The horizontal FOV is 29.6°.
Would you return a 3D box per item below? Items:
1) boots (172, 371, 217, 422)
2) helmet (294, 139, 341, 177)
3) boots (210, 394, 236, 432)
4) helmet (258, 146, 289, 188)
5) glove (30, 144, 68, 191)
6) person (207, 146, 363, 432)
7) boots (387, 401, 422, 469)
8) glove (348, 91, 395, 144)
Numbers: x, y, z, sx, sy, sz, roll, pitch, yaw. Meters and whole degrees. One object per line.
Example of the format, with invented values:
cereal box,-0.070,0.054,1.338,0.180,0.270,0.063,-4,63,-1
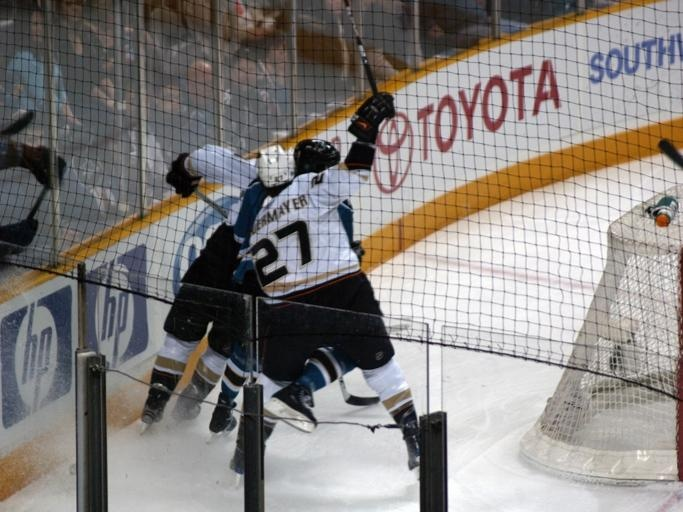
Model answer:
boots,-0.828,0.798,7.155,0.185,0.296,0.110,37,-7,-11
helmet,-0.143,-0.591,7.724,0.243,0.236,0.201,-3,33,3
boots,-0.615,0.856,7.091,0.092,0.177,0.241,10,21,13
helmet,-0.395,-0.531,7.726,0.213,0.201,0.214,-16,24,-21
glove,-1.795,-0.542,7.907,0.085,0.244,0.170,-19,-2,44
person,-0.254,0.134,7.287,0.882,1.582,0.416,-5,-10,43
boots,0.358,0.978,6.990,0.165,0.357,0.088,5,4,3
glove,0.189,-0.776,7.432,0.205,0.328,0.146,36,14,8
